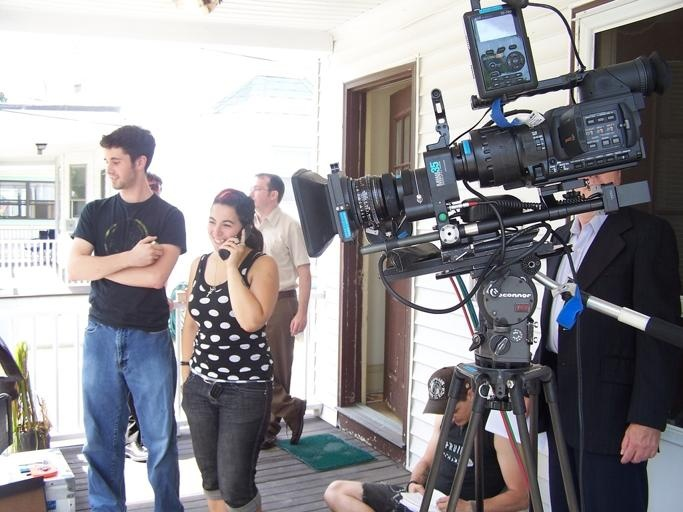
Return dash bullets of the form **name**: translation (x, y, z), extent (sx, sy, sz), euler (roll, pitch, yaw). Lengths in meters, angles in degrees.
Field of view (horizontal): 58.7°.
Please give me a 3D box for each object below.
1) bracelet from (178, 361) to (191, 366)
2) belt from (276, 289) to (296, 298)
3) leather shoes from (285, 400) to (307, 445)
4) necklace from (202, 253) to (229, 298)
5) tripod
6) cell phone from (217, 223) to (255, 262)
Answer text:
- **bracelet**: translation (-0.909, 0.618, 3.511), extent (0.043, 0.022, 0.060), euler (-2, -3, 30)
- **belt**: translation (-0.464, 0.320, 5.133), extent (0.180, 0.076, 0.036), euler (-9, 6, -42)
- **leather shoes**: translation (-0.397, 1.369, 5.127), extent (0.168, 0.435, 0.139), euler (3, 11, -14)
- **necklace**: translation (-0.701, 0.113, 3.242), extent (0.138, 0.215, 0.054), euler (0, -6, 4)
- **tripod**: translation (0.570, 0.652, 2.525), extent (0.625, 0.859, 0.557), euler (3, -24, 6)
- **cell phone**: translation (-0.568, -0.113, 3.330), extent (0.082, 0.098, 0.358), euler (11, 45, 11)
